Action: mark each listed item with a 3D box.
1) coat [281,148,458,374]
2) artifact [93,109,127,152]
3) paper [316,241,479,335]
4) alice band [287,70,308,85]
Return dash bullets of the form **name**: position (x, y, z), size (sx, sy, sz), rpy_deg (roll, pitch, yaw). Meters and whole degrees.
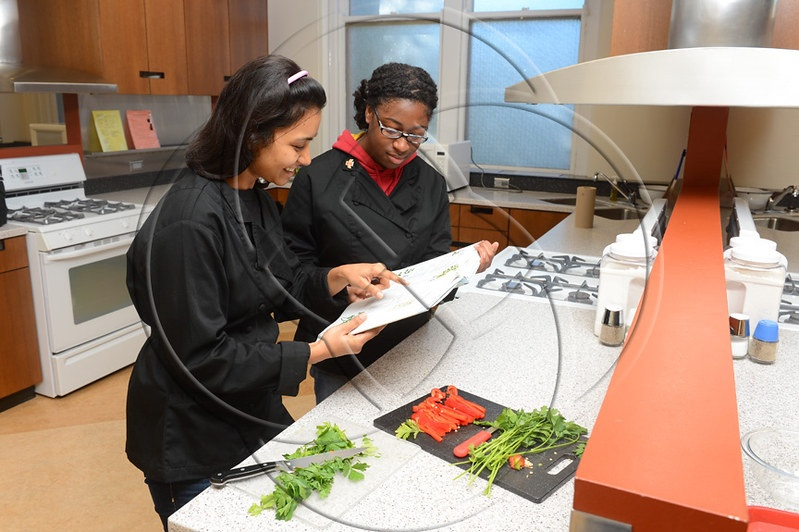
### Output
- **coat**: position (-0.057, 0.002, 1.121), size (0.360, 0.449, 0.262), rpy_deg (-11, 51, -14)
- **artifact**: position (-1.876, -0.862, 3.340), size (0.078, 0.251, 0.247), rpy_deg (-3, 16, 16)
- **paper**: position (-0.025, -0.005, 1.051), size (0.193, 0.058, 0.273), rpy_deg (-26, 7, 29)
- **alice band**: position (-0.187, -0.346, 0.959), size (0.045, 0.011, 0.045), rpy_deg (-28, 5, -10)
